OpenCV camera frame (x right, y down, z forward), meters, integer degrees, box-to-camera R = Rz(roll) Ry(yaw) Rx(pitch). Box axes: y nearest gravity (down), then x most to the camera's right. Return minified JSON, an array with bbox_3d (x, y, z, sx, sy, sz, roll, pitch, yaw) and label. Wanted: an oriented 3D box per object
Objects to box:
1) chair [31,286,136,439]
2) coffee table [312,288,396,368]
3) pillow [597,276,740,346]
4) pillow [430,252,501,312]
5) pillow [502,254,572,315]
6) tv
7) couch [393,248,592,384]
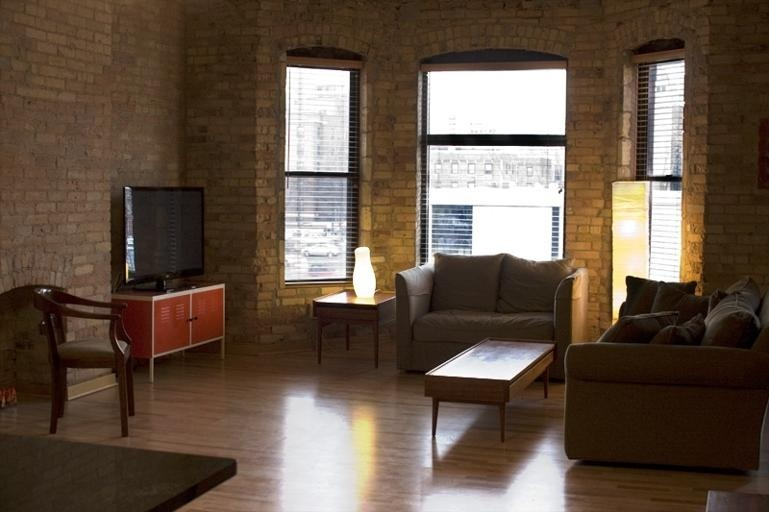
[{"bbox_3d":[-2.541,0.888,5.624,0.940,1.058,0.867,3,-3,-2],"label":"chair"},{"bbox_3d":[-0.427,0.878,7.462,0.801,0.632,0.844,4,-13,-5],"label":"coffee table"},{"bbox_3d":[2.317,0.493,5.286,0.853,0.225,0.785,-7,8,15],"label":"pillow"},{"bbox_3d":[0.930,0.317,7.356,0.702,0.533,0.248,2,6,5],"label":"pillow"},{"bbox_3d":[1.674,0.335,7.119,0.682,0.474,0.245,2,2,10],"label":"pillow"},{"bbox_3d":[-2.393,-0.186,6.972,0.248,1.072,1.339,1,5,19],"label":"tv"},{"bbox_3d":[1.226,0.610,7.185,1.982,1.078,1.034,0,8,25],"label":"couch"}]
